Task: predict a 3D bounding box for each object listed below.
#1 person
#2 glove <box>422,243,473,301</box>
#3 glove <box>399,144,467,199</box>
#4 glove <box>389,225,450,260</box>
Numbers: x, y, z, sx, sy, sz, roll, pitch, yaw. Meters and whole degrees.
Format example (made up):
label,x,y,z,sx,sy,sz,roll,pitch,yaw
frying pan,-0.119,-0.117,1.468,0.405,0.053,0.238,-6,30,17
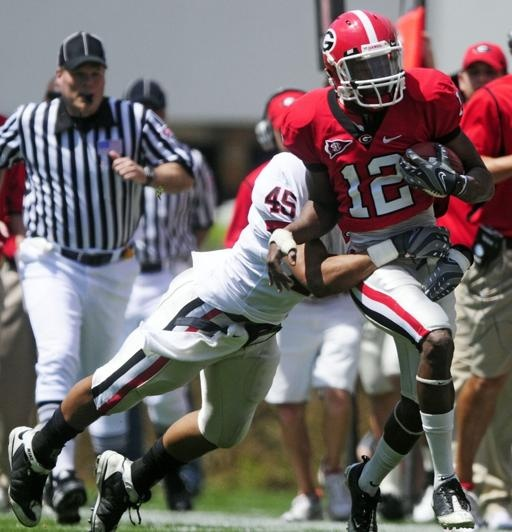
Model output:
label,x,y,z,sx,sy,sz,roll,pitch,yaw
person,0.038,0.062,3.401,1.581,1.930,0.601,-1,6,23
glove,0.676,0.026,3.255,0.230,0.112,0.075,-45,4,-19
glove,0.605,-0.316,3.076,0.233,0.162,0.167,18,3,-19
glove,0.579,-0.087,3.189,0.170,0.064,0.113,-7,9,-2
